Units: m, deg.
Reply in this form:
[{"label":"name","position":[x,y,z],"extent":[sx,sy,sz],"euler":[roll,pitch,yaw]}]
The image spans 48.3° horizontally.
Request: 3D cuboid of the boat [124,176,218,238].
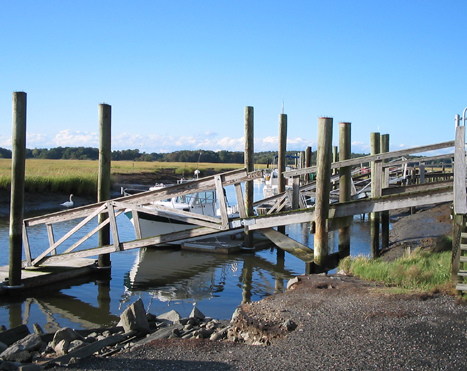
[{"label":"boat","position":[-1.957,0.926,20.827],"extent":[1.951,1.774,4.138],"euler":[-5,-4,26]}]
